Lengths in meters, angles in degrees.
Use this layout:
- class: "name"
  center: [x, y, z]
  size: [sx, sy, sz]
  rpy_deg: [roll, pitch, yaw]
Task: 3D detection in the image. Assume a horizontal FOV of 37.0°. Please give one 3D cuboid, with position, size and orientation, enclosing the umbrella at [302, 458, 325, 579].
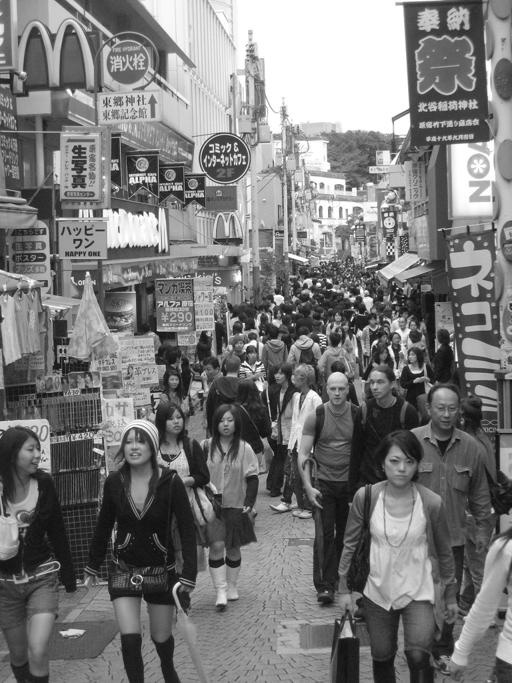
- class: "umbrella"
  center: [0.440, 1.396, 5.537]
  size: [0.060, 1.072, 0.188]
  rpy_deg: [-5, -3, 9]

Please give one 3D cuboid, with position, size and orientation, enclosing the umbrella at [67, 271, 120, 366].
- class: "umbrella"
  center: [-1.594, -0.244, 7.382]
  size: [0.468, 0.874, 0.525]
  rpy_deg: [-2, -3, -13]

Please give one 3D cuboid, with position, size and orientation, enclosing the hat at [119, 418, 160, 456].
- class: "hat"
  center: [-0.527, 0.424, 3.483]
  size: [0.129, 0.193, 0.172]
  rpy_deg: [-2, 36, 1]

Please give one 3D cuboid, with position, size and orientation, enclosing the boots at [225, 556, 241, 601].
- class: "boots"
  center: [-0.189, 1.816, 5.918]
  size: [0.110, 0.355, 0.246]
  rpy_deg: [2, -10, -6]

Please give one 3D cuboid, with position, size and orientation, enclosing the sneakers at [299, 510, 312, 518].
- class: "sneakers"
  center: [0.579, 2.013, 8.918]
  size: [0.163, 0.089, 0.057]
  rpy_deg: [11, -14, -39]

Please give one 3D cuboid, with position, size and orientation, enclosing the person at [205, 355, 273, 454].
- class: "person"
  center: [-0.275, 0.891, 9.680]
  size: [0.542, 1.834, 0.546]
  rpy_deg: [-1, 36, -4]

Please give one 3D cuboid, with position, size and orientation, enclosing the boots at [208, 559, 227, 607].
- class: "boots"
  center: [-0.276, 1.774, 5.652]
  size: [0.129, 0.372, 0.218]
  rpy_deg: [-1, -3, -15]

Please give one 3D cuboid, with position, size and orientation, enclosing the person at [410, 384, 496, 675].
- class: "person"
  center: [1.084, 1.054, 4.290]
  size: [0.412, 1.566, 0.427]
  rpy_deg: [-2, 11, 12]

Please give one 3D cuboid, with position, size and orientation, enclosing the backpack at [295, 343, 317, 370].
- class: "backpack"
  center: [0.894, 0.262, 13.133]
  size: [0.363, 0.663, 0.309]
  rpy_deg: [0, 5, -3]

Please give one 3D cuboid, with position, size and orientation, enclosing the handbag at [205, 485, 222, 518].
- class: "handbag"
  center: [-0.298, 1.130, 5.412]
  size: [0.066, 0.236, 0.147]
  rpy_deg: [-9, 5, 0]
